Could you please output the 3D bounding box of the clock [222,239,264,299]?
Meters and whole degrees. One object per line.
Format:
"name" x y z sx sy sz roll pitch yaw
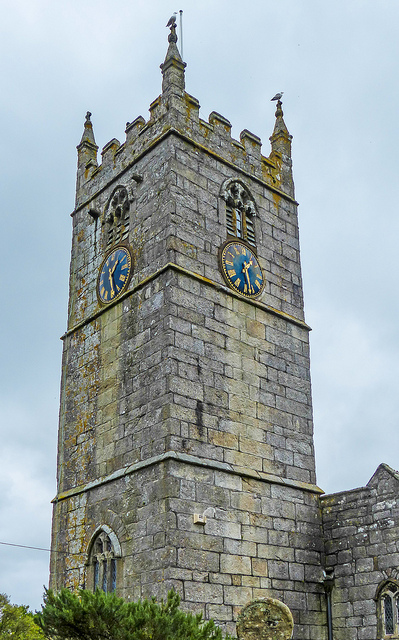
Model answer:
"clock" 0.883 -0.966 21.641 0.077 1.160 1.178 -23 -30 39

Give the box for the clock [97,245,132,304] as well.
"clock" -1.592 -0.846 21.795 0.074 0.932 0.909 18 -31 -29
